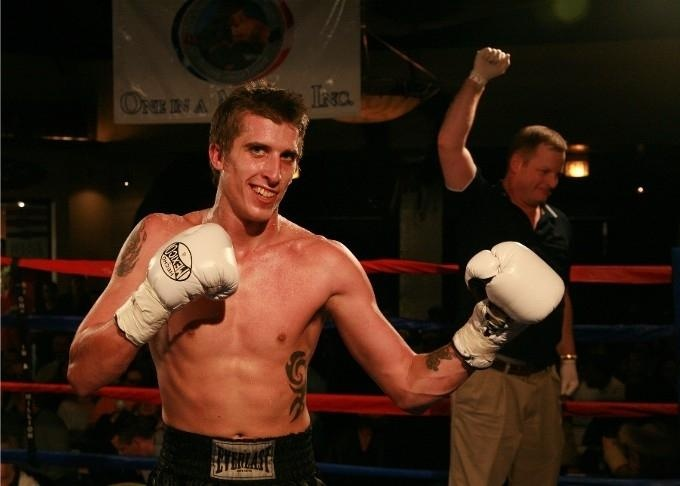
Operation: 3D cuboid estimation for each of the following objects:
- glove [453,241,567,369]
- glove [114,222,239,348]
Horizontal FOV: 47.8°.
[{"bbox_3d":[0.968,0.348,4.288,0.492,0.667,0.405,43,24,10],"label":"glove"},{"bbox_3d":[-0.829,0.249,3.923,0.450,0.694,0.277,48,-8,26],"label":"glove"}]
